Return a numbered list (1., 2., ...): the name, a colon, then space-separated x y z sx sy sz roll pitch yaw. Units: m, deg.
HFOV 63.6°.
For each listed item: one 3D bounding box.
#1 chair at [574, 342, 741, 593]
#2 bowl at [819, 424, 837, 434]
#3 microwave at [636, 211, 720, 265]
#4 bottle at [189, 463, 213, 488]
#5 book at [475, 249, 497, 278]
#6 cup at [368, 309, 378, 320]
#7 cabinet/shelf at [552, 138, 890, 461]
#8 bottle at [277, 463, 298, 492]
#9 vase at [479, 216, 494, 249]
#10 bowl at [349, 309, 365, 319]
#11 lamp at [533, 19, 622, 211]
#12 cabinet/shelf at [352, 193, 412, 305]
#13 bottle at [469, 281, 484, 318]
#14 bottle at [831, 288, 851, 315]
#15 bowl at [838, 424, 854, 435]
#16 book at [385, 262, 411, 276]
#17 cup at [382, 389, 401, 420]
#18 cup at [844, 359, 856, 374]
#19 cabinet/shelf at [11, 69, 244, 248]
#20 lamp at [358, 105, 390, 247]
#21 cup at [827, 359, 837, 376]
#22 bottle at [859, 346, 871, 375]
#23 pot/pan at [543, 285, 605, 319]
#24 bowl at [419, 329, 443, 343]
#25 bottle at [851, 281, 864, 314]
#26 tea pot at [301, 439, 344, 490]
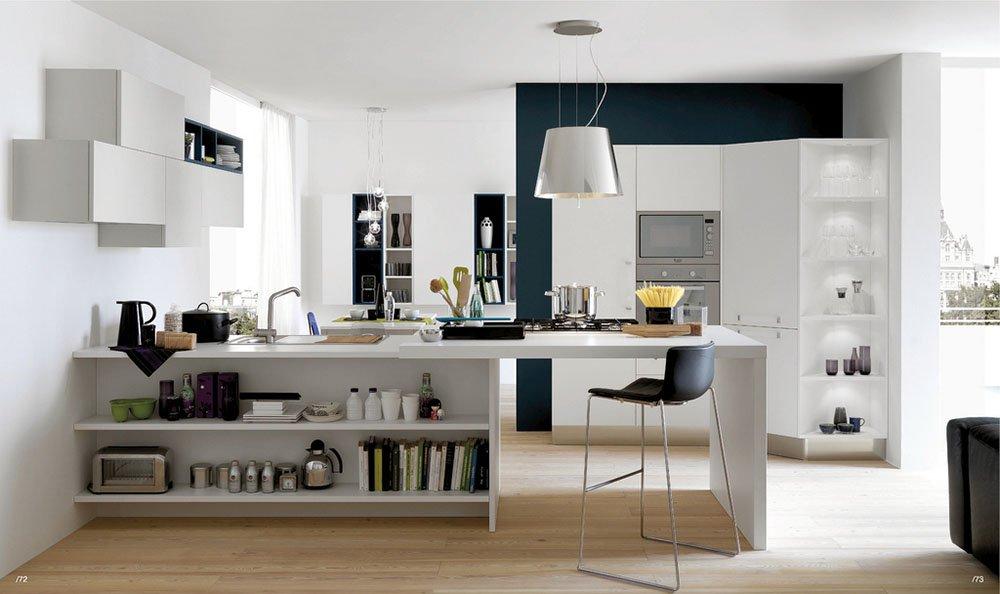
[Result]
1. chair: 1.329 1.222 6.837 1.294 1.781 2.053 0 1 7
2. bowl: 3.231 1.294 7.953 0.103 0.052 0.103 5 -1 0
3. microwave: 1.987 -0.642 8.514 0.933 0.535 0.523 4 9 39
4. bottle: -2.443 1.475 6.714 0.200 0.174 0.178 0 1 -13
5. book: -0.177 -0.448 11.001 0.372 0.487 0.370 1 -1 2
6. cup: -1.428 0.198 9.155 0.101 0.116 0.178 -1 1 -13
7. cabinet/shelf: 2.260 -0.017 7.761 3.532 3.110 1.129 0 -4 11
8. bottle: -1.727 1.486 6.629 0.157 0.151 0.214 0 -4 -5
9. vase: -0.169 -0.878 11.030 0.167 0.435 0.223 0 1 4
10. bowl: -1.607 0.193 9.133 0.134 0.068 0.130 -2 -3 0
11. lamp: 0.677 -1.640 6.924 0.816 1.415 0.803 -8 15 -27
12. cabinet/shelf: -1.544 -0.919 11.073 0.767 1.216 0.375 -1 0 2
13. bottle: -0.211 0.040 7.196 0.100 0.315 0.327 0 1 -3
14. bottle: 3.396 0.046 7.971 0.235 0.258 0.120 -1 2 -16
15. bowl: 3.383 1.298 7.896 0.109 0.054 0.104 1 -8 0
16. book: -1.368 -0.378 11.134 0.338 0.162 0.308 3 2 6
17. cup: -0.876 0.897 6.633 0.225 0.237 0.216 0 -5 0
18. cup: 3.432 0.692 7.953 0.098 0.161 0.053 0 2 20
19. cabinet/shelf: -3.087 -1.111 6.625 0.536 1.073 1.962 0 1 8
20. lamp: -1.675 -1.555 10.792 0.360 1.730 0.780 0 1 -8
21. cup: 3.269 0.693 7.976 0.116 0.159 0.093 0 1 12
22. bottle: 3.611 0.626 7.978 0.136 0.279 0.053 -1 2 -21
23. pot/pan: 0.691 0.052 7.334 0.562 0.260 0.327 0 -5 3
24. bowl: -0.557 0.307 6.532 0.170 0.106 0.102 0 1 1
25. bottle: 3.553 -0.010 8.037 0.110 0.322 0.037 -1 2 -12
26. tea pot: -1.468 1.397 6.655 0.460 0.444 0.286 1 -2 -10
